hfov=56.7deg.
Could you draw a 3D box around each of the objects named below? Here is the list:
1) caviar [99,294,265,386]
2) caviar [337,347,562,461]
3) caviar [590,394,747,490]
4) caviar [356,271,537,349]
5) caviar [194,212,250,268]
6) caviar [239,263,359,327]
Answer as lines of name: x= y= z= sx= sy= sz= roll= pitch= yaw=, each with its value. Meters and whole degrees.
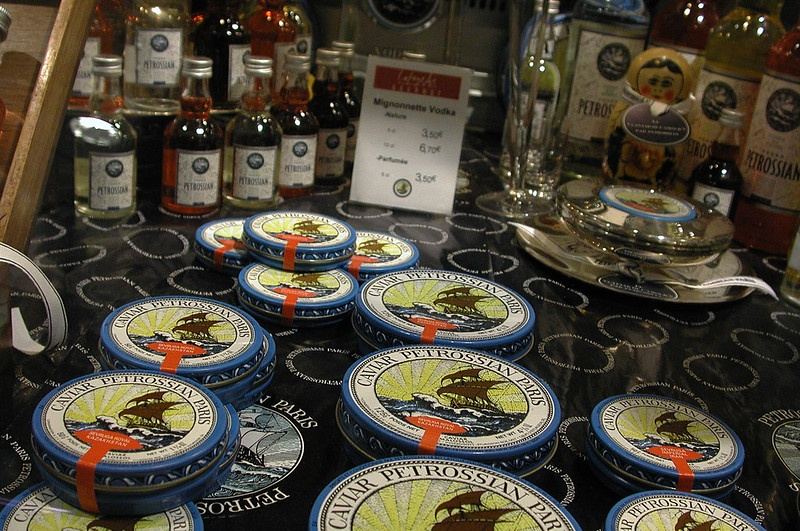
caviar: x=-0.280 y=0.093 z=0.964 sx=0.214 sy=0.045 sz=0.150 roll=7 pitch=22 yaw=5
caviar: x=0.060 y=0.170 z=0.903 sx=0.260 sy=0.068 sz=0.162 roll=4 pitch=22 yaw=-2
caviar: x=0.325 y=0.216 z=0.909 sx=0.180 sy=0.048 sz=0.137 roll=12 pitch=23 yaw=16
caviar: x=0.065 y=0.069 z=1.059 sx=0.251 sy=0.057 sz=0.187 roll=9 pitch=23 yaw=10
caviar: x=-0.274 y=-0.039 z=1.208 sx=0.113 sy=0.025 sz=0.112 roll=-13 pitch=45 yaw=-31
caviar: x=-0.146 y=0.050 z=1.136 sx=0.197 sy=0.048 sz=0.194 roll=-3 pitch=15 yaw=-24
